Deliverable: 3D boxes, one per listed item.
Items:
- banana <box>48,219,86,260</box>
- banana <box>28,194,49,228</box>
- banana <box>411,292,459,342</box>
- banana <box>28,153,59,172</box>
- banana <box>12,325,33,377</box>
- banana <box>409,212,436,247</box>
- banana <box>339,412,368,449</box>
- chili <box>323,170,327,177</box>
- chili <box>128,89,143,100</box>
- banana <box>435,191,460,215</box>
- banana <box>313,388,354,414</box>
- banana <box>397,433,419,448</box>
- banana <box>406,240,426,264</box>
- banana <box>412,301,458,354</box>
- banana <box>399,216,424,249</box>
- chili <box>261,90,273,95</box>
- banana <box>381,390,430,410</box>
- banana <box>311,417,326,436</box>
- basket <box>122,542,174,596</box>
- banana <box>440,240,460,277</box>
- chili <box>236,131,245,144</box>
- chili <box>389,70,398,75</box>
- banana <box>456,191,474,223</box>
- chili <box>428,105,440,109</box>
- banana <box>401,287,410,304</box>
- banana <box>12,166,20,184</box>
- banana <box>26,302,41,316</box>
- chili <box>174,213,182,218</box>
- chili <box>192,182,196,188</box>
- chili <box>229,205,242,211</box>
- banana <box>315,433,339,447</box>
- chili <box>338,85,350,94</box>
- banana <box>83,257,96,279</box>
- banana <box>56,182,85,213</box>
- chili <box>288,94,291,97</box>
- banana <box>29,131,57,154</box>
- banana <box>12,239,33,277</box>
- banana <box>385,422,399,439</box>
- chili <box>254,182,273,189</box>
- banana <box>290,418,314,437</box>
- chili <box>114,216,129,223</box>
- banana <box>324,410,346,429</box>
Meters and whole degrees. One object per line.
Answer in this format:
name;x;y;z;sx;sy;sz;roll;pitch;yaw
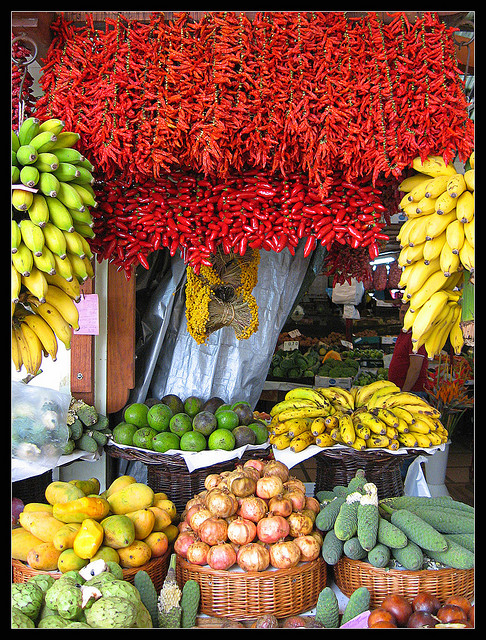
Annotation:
banana;-0.491;-0.217;1.435;0.136;0.044;0.048;46;-20;14
banana;-0.546;-0.287;1.338;0.032;0.035;0.102;53;9;-45
banana;0.626;-0.017;1.657;0.060;0.157;0.041;18;21;-52
banana;-0.523;-0.415;1.337;0.085;0.044;0.042;7;29;32
banana;-0.672;0.092;1.548;0.035;0.177;0.058;-11;-9;-29
banana;0.564;-0.277;1.588;0.038;0.129;0.044;-8;-47;51
banana;0.444;0.452;2.062;0.048;0.058;0.176;-35;18;5
chili;0.254;-0.458;1.571;0.006;0.013;0.003;-7;3;-9
chili;-0.325;-0.671;1.507;0.011;0.043;0.007;-11;-31;-46
banana;0.597;-0.339;1.491;0.041;0.086;0.032;35;-9;14
banana;0.419;0.385;2.377;0.112;0.041;0.031;30;38;-3
banana;0.669;0.481;2.054;0.038;0.037;0.119;-6;1;5
banana;0.545;-0.213;1.605;0.028;0.088;0.034;18;42;-15
banana;0.643;0.020;1.701;0.043;0.204;0.073;33;-3;20
banana;0.546;-0.284;1.641;0.039;0.121;0.033;33;-29;-10
chili;0.066;-0.665;1.477;0.025;0.010;0.009;3;-2;-19
banana;0.732;0.365;2.297;0.176;0.049;0.099;-2;11;0
banana;0.301;0.439;2.093;0.034;0.029;0.077;-9;9;17
basket;-0.276;0.707;1.432;0.121;0.056;0.111;4;-1;-10
banana;0.609;-0.179;1.514;0.039;0.045;0.128;-23;-35;-2
chili;-0.012;-0.547;1.523;0.008;0.040;0.010;-16;17;12
chili;0.443;-0.735;1.499;0.010;0.010;0.033;44;12;-9
banana;0.649;-0.332;1.482;0.044;0.080;0.047;5;3;19
chili;0.556;-0.622;1.474;0.037;0.011;0.010;25;-25;33
banana;0.525;-0.072;1.643;0.022;0.069;0.024;2;1;-26
banana;-0.600;-0.382;1.327;0.011;0.043;0.053;3;3;-15
banana;-0.642;-0.034;1.548;0.012;0.059;0.016;-28;9;29
chili;-0.225;-0.359;1.736;0.017;0.017;0.025;2;4;-37
chili;-0.172;-0.467;1.747;0.014;0.016;0.014;4;3;-9
chili;-0.026;-0.378;1.708;0.031;0.016;0.017;-17;-16;6
banana;0.338;0.485;2.036;0.089;0.040;0.041;9;-23;-44
chili;0.296;-0.684;1.496;0.009;0.027;0.006;48;3;43
banana;-0.484;-0.163;1.578;0.018;0.066;0.023;-30;-25;-7
banana;-0.483;-0.357;1.429;0.041;0.047;0.128;-37;53;-19
chili;0.137;-0.669;1.507;0.007;0.007;0.002;3;3;-19
banana;-0.537;-0.477;1.358;0.049;0.031;0.089;37;-28;-24
banana;-0.583;-0.158;1.336;0.036;0.111;0.039;-23;-34;-10
banana;0.596;0.435;2.000;0.029;0.023;0.060;-2;19;7
chili;0.065;-0.461;1.724;0.064;0.022;0.019;19;-8;34
banana;0.246;0.445;2.157;0.125;0.042;0.041;-23;24;-38
chili;-0.420;-0.347;1.747;0.043;0.019;0.020;12;-31;-5
banana;0.392;0.434;2.173;0.043;0.044;0.137;-12;4;28
